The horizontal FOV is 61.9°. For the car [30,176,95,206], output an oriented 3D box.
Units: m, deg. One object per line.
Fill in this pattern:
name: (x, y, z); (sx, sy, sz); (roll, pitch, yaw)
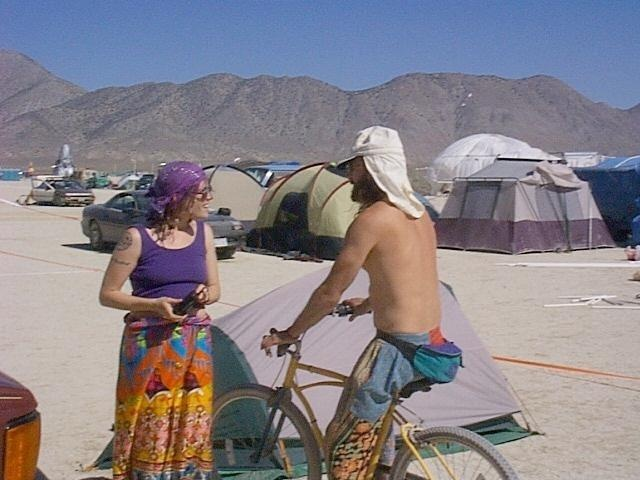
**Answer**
car: (-15.040, -2.738, 30.750); (2.408, 1.493, 4.101); (-7, 10, -44)

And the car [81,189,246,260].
car: (-4.417, -0.452, 13.528); (2.339, 1.270, 4.804); (-1, 3, -42)

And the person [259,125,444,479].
person: (0.192, 0.309, 2.644); (0.865, 1.756, 0.512); (-1, 10, -11)

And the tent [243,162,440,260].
tent: (-0.131, -0.688, 13.768); (3.928, 1.349, 3.429); (-4, 7, -28)

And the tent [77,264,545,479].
tent: (0.344, 0.773, 4.002); (2.576, 0.810, 1.784); (1, 0, 9)

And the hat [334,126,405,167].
hat: (0.239, -0.455, 2.604); (0.272, 0.096, 0.188); (-4, 5, 30)

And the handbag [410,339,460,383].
handbag: (0.498, 0.560, 2.484); (0.256, 0.186, 0.097); (14, -35, 15)
